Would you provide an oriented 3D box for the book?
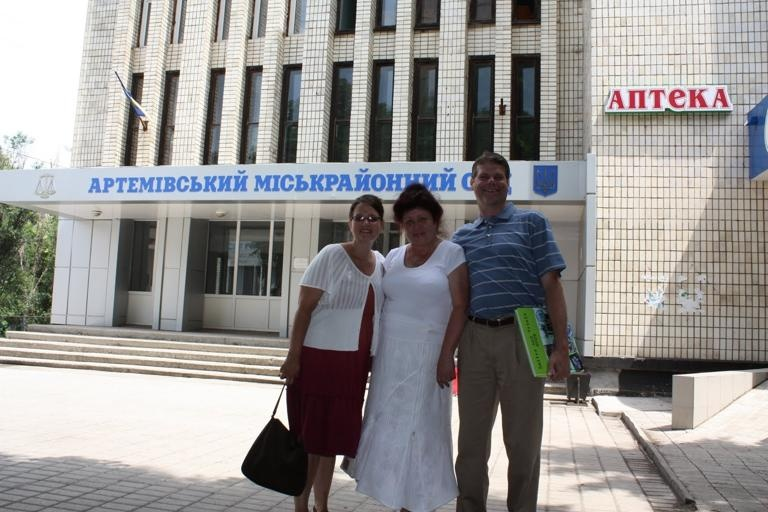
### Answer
[{"bbox_3d":[1.885,1.012,7.768,0.733,0.831,0.257,1,-1,10],"label":"book"}]

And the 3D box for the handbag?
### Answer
[{"bbox_3d":[-1.296,2.219,8.014,0.764,1.358,0.297,1,-1,-3],"label":"handbag"}]
